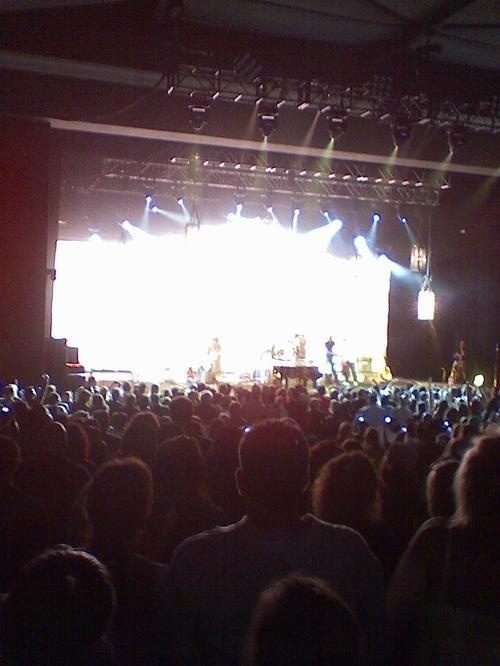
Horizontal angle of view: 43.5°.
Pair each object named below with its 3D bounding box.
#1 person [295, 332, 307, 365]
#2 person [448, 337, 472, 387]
[{"bbox_3d":[1.334,0.473,17.311,0.205,0.995,0.488,-4,-5,22],"label":"person"},{"bbox_3d":[5.002,0.965,15.023,0.445,1.314,0.468,14,-17,-7],"label":"person"}]
